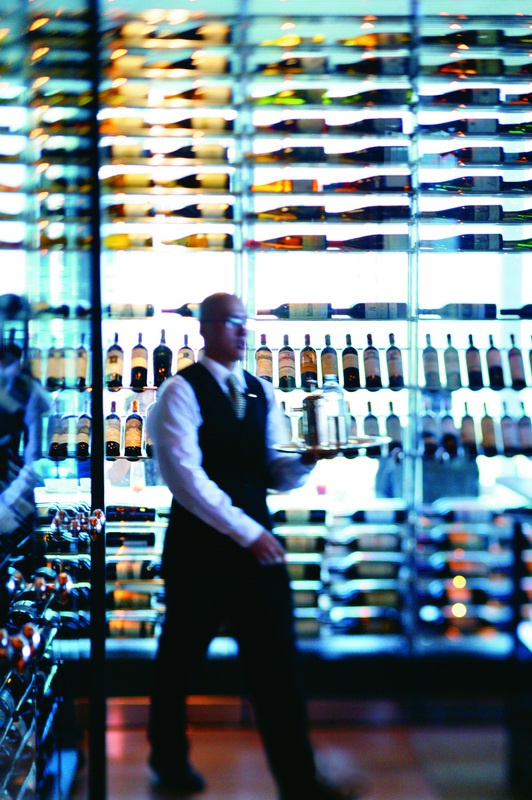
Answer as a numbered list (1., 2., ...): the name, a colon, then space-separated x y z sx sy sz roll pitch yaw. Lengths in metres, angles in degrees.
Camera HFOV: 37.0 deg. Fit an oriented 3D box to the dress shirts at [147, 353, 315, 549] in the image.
1. dress shirts: -0.089 0.120 1.921 0.376 0.446 0.240 0 4 -17
